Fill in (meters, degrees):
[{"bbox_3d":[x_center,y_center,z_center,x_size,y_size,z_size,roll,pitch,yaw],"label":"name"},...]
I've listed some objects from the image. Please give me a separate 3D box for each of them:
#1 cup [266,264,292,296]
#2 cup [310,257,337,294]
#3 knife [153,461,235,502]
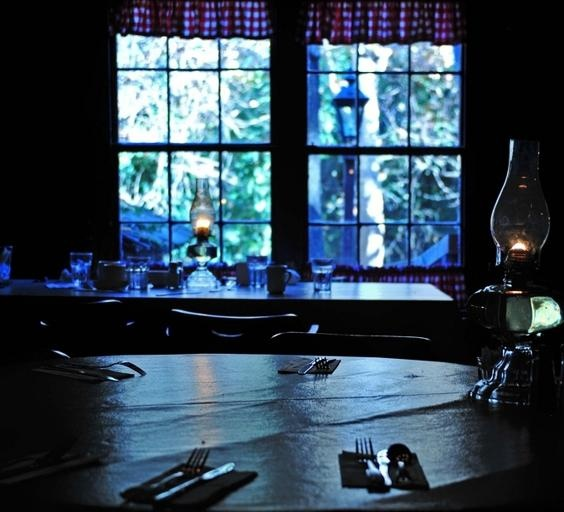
[{"bbox_3d":[-0.021,0.113,2.652,0.076,0.133,0.128,-2,-9,20],"label":"cup"},{"bbox_3d":[0.179,0.095,2.706,0.124,0.187,0.125,0,-9,0],"label":"cup"},{"bbox_3d":[-0.117,0.283,0.796,0.029,0.011,0.125,8,8,38],"label":"knife"}]
